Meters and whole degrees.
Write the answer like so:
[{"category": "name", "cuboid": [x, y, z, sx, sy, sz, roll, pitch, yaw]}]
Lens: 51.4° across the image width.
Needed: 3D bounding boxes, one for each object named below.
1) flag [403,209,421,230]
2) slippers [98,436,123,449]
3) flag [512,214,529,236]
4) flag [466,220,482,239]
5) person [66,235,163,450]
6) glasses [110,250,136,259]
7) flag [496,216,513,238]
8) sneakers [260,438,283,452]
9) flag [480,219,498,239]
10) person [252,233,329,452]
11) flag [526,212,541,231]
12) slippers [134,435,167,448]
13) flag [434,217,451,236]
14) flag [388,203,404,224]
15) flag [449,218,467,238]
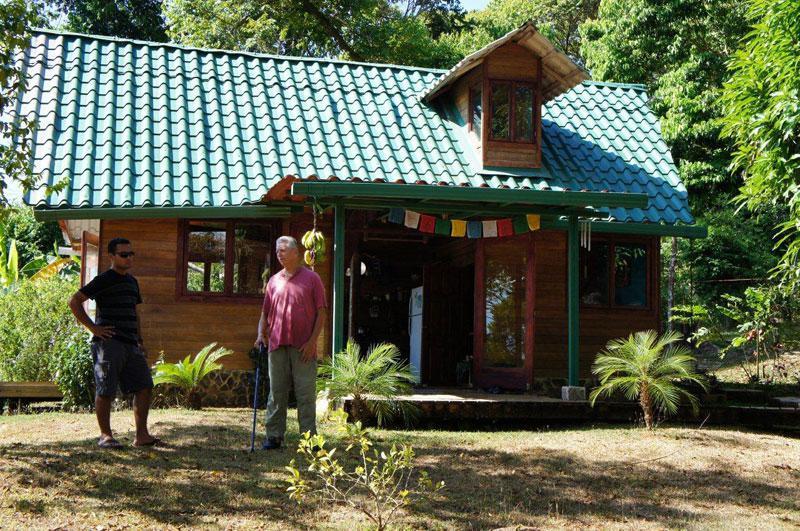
[{"category": "flag", "cuboid": [0.252, -0.916, 16.236, 0.329, 0.363, 0.055, 6, -9, -13]}, {"category": "slippers", "cuboid": [-4.384, 2.694, 12.644, 0.330, 0.151, 0.172, 0, -4, 11]}, {"category": "flag", "cuboid": [2.447, -0.837, 16.914, 0.372, 0.470, 0.042, 0, -17, -14]}, {"category": "flag", "cuboid": [1.491, -0.686, 16.720, 0.347, 0.395, 0.282, 0, -10, -1]}, {"category": "person", "cuboid": [-4.345, 1.192, 12.788, 1.235, 3.197, 0.587, 2, -5, -25]}, {"category": "glasses", "cuboid": [-4.221, -0.161, 12.769, 0.326, 0.137, 0.165, 3, -5, -41]}, {"category": "flag", "cuboid": [2.136, -0.783, 16.880, 0.364, 0.466, 0.059, 4, -14, -12]}, {"category": "sneakers", "cuboid": [-1.978, 2.793, 12.918, 0.284, 0.313, 0.141, 9, -11, -17]}, {"category": "flag", "cuboid": [1.812, -0.732, 16.765, 0.343, 0.393, 0.038, 3, -21, -3]}, {"category": "person", "cuboid": [-1.670, 1.215, 13.015, 1.062, 3.298, 0.549, 0, -4, 3]}, {"category": "flag", "cuboid": [2.701, -0.865, 16.984, 0.254, 0.346, 0.323, -12, -31, 25]}, {"category": "slippers", "cuboid": [-3.855, 2.751, 12.876, 0.351, 0.157, 0.190, -2, -2, -12]}, {"category": "flag", "cuboid": [0.850, -0.785, 16.478, 0.324, 0.310, 0.161, 2, -5, -32]}, {"category": "flag", "cuboid": [-0.100, -0.988, 16.184, 0.280, 0.322, 0.095, 0, 2, -26]}, {"category": "flag", "cuboid": [1.182, -0.738, 16.704, 0.334, 0.364, 0.285, 1, -4, -10]}]
